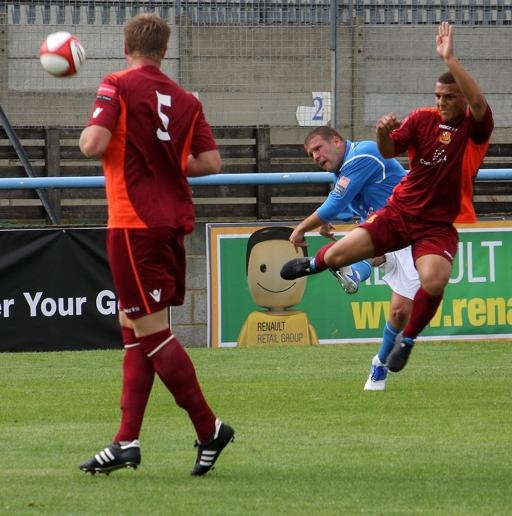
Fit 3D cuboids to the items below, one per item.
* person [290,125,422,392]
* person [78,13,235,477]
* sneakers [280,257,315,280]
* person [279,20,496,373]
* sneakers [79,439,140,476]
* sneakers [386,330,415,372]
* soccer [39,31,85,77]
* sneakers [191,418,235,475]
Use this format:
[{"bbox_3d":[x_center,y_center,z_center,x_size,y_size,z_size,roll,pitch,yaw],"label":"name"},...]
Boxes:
[{"bbox_3d":[0.677,-0.021,10.511,0.870,1.818,0.766,-5,-13,-5],"label":"person"},{"bbox_3d":[-0.538,-0.102,8.442,0.759,2.459,0.587,-2,7,-8],"label":"person"},{"bbox_3d":[0.277,0.037,10.079,0.211,0.118,0.096,-14,-30,26],"label":"sneakers"},{"bbox_3d":[0.807,-0.365,9.536,1.062,2.071,0.808,10,-1,11],"label":"person"},{"bbox_3d":[-0.746,1.049,8.314,0.347,0.188,0.143,-4,-10,-2],"label":"sneakers"},{"bbox_3d":[0.907,0.583,9.657,0.101,0.315,0.131,24,-2,-9],"label":"sneakers"},{"bbox_3d":[-1.092,-1.221,9.095,0.235,0.253,0.281,-24,18,2],"label":"soccer"},{"bbox_3d":[-0.238,1.001,8.410,0.285,0.272,0.123,-7,9,-39],"label":"sneakers"}]
